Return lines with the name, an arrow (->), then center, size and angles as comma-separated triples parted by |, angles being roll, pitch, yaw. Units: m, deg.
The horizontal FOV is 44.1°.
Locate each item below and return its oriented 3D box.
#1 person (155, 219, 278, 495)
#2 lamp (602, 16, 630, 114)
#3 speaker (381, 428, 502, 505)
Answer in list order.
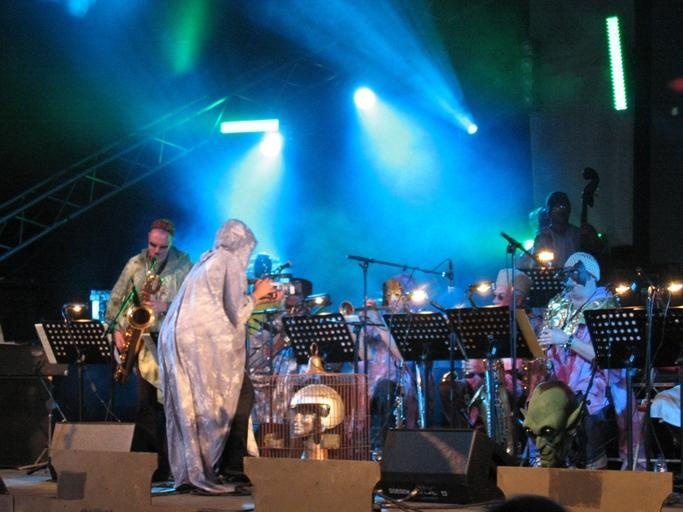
person -> -1.386, 1.054, 9.305 | 0.915, 2.854, 1.051 | -3, -4, 44
lamp -> 4.538, -3.133, 13.831 | 0.264, 1.539, 0.312 | -3, -10, 20
speaker -> 0.921, 2.033, 8.179 | 1.119, 0.700, 0.311 | -3, -11, 14
